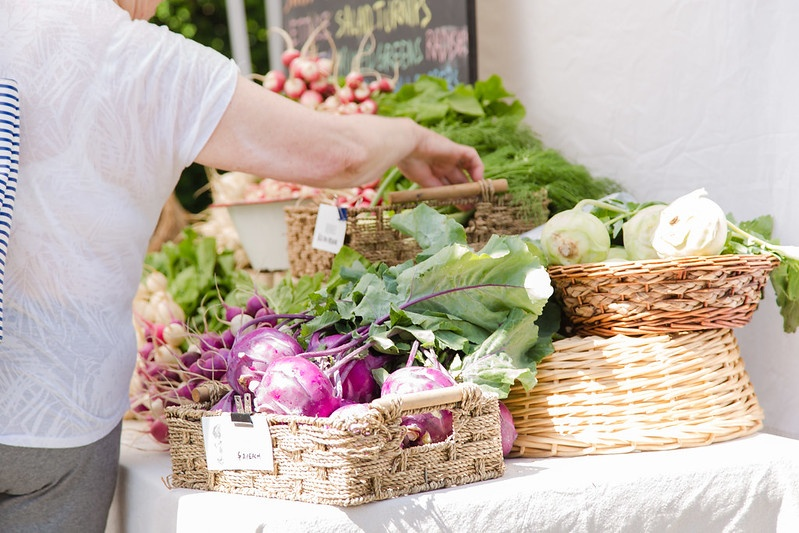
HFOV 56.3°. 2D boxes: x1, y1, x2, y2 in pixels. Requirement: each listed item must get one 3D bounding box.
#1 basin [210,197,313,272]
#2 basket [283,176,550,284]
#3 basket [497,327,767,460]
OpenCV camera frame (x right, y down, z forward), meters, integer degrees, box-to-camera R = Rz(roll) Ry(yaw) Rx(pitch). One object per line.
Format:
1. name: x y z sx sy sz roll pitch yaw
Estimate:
1. basin: -0.468 -0.112 2.543 0.271 0.199 0.253 -5 -4 0
2. basket: 0.077 -0.128 2.128 0.508 0.183 0.376 -3 -3 -14
3. basket: 0.564 0.300 1.894 0.660 0.228 0.609 -1 -6 -26
